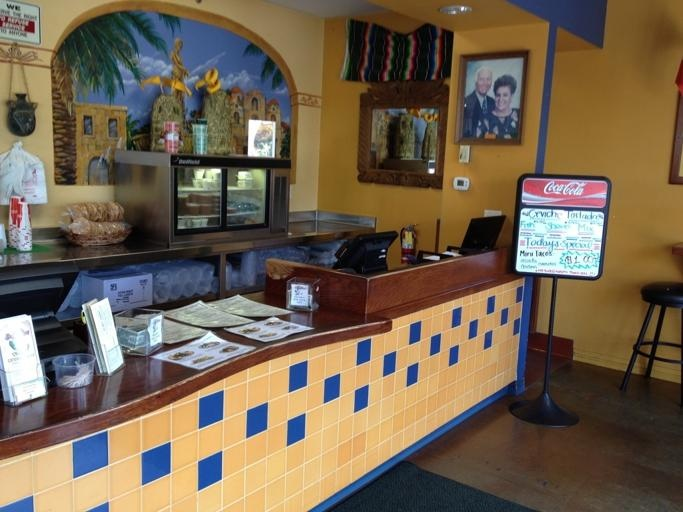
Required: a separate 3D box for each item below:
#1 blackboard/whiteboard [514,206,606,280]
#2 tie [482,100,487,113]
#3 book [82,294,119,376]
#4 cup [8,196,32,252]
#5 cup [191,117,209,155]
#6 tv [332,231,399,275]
[{"bbox_3d":[1.551,-0.113,3.751,0.524,0.418,0.069,3,9,15],"label":"blackboard/whiteboard"},{"bbox_3d":[1.140,-1.194,4.239,0.018,0.072,0.054,3,27,-8],"label":"tie"},{"bbox_3d":[-0.918,0.296,2.080,0.135,0.278,0.199,6,13,11],"label":"book"},{"bbox_3d":[-2.422,-0.249,3.985,0.124,0.392,0.255,-8,17,-43],"label":"cup"},{"bbox_3d":[-1.283,-1.089,4.815,0.111,0.302,0.123,0,13,-19],"label":"cup"},{"bbox_3d":[0.119,-0.045,3.338,0.349,0.295,0.289,-8,21,-32],"label":"tv"}]
